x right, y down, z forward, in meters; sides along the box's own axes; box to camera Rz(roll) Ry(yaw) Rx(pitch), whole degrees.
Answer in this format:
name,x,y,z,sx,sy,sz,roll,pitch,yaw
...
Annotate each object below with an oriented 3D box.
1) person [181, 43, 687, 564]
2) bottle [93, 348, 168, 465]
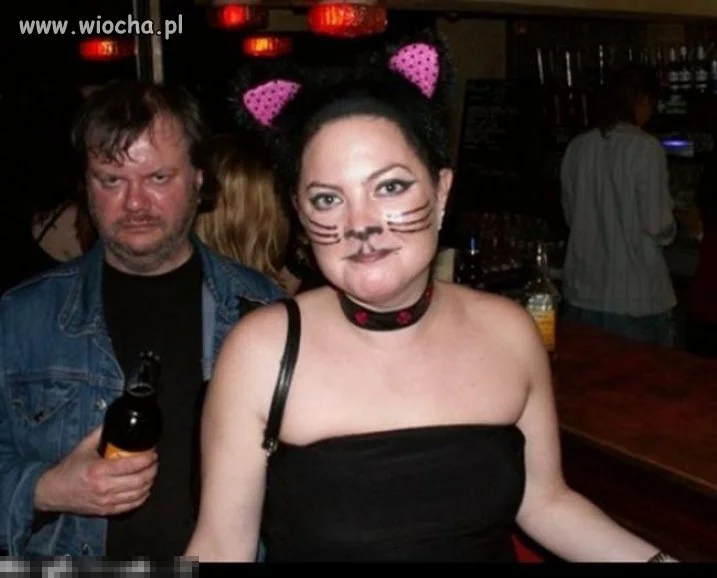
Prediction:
name,x,y,z,sx,sy,sz,roll,pitch,yaw
person,0.085,0.069,1.917,1.213,1.526,0.510,-4,14,-6
bottle,-0.732,0.373,2.132,0.222,0.308,0.145,-9,16,-25
